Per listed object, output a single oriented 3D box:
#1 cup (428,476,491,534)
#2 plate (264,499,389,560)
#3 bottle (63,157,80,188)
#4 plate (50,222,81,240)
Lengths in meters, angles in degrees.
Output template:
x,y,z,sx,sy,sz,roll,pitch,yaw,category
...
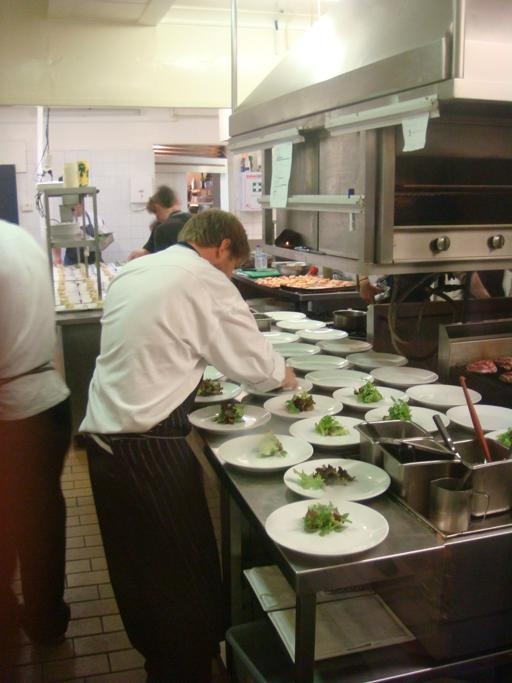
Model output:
x,y,z,sx,sy,sz,roll,pitch,yaw,category
0.385,0.326,1.098,0.084,0.093,0.083,1,10,0,cup
0.134,0.348,1.067,0.231,0.046,0.202,3,9,10,plate
-1.216,-1.107,3.676,0.098,0.190,0.270,-2,10,-17,bottle
-1.313,-0.768,3.854,0.150,0.074,0.146,-2,5,-5,plate
